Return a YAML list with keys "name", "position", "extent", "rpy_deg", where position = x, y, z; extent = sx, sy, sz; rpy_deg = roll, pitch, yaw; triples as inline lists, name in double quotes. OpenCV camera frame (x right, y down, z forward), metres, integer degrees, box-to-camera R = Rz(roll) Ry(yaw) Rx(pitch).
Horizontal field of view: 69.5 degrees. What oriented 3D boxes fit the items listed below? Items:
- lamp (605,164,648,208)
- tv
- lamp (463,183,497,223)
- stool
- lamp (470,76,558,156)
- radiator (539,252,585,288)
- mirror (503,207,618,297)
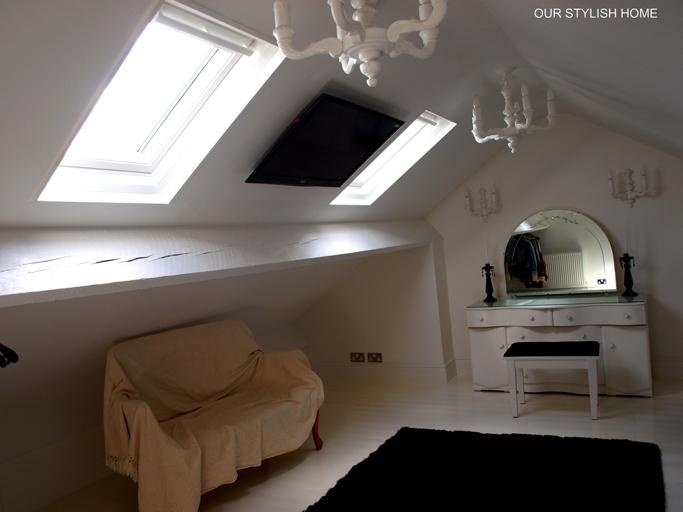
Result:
- name: "lamp"
  position: [2.682, -0.639, 4.576]
  extent: [0.362, 0.403, 0.382]
  rpy_deg: [-7, 2, -4]
- name: "tv"
  position: [-0.125, -0.765, 3.153]
  extent: [0.785, 0.102, 1.318]
  rpy_deg: [-30, -14, 28]
- name: "lamp"
  position: [1.487, -0.532, 5.147]
  extent: [0.337, 0.443, 0.346]
  rpy_deg: [-5, -3, 35]
- name: "stool"
  position: [1.746, 0.997, 4.062]
  extent: [0.689, 0.523, 0.605]
  rpy_deg: [-4, 4, 27]
- name: "lamp"
  position: [1.121, -0.977, 3.294]
  extent: [0.515, 0.547, 0.493]
  rpy_deg: [-6, -2, -18]
- name: "radiator"
  position: [2.199, 0.130, 4.799]
  extent: [0.324, 0.319, 0.047]
  rpy_deg: [-4, -12, 3]
- name: "mirror"
  position: [2.181, -0.045, 4.787]
  extent: [0.811, 0.786, 0.098]
  rpy_deg: [-2, 5, 25]
